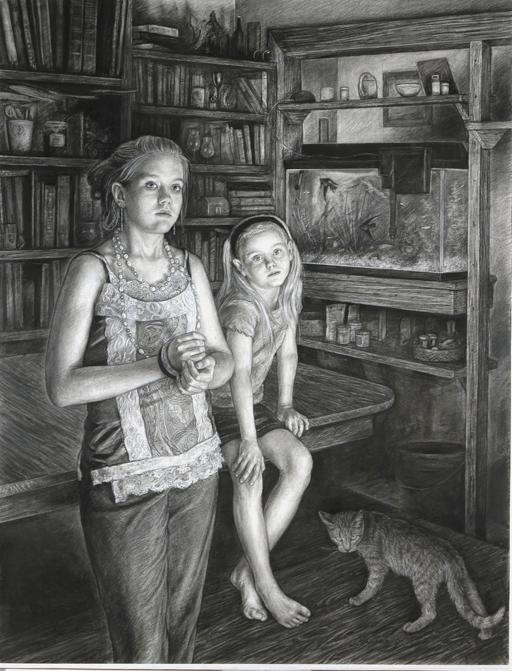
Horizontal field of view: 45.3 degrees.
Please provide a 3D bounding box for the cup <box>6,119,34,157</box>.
[{"bbox_3d":[-0.973,-0.814,2.531,0.140,0.132,0.129,1,7,0],"label":"cup"}]

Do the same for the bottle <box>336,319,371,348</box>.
[{"bbox_3d":[0.467,0.003,2.942,0.180,0.098,0.095,1,5,19],"label":"bottle"}]

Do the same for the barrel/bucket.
[{"bbox_3d":[0.775,0.621,2.716,0.398,0.358,0.346,0,5,15],"label":"barrel/bucket"}]
